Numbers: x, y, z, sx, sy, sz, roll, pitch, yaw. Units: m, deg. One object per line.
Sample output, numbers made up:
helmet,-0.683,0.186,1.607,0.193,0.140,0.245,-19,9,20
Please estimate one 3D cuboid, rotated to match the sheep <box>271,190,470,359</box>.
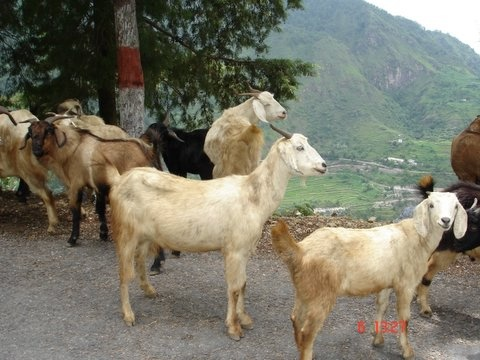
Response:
sheep,1.644,1.238,6.817,2.399,2.263,1.002,-1,22,-21
